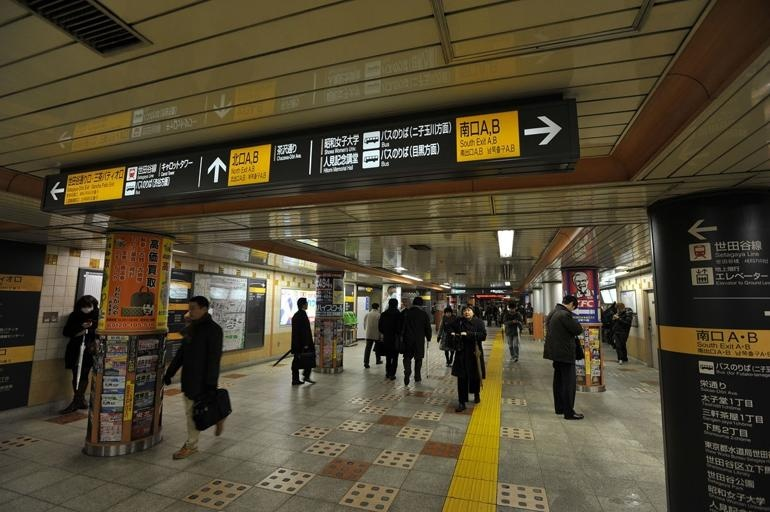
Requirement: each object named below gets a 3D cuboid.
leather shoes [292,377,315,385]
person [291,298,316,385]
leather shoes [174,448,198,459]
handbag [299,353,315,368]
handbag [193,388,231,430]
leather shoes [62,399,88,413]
[{"bbox_3d":[-1.940,2.946,10.478,0.582,0.211,0.181,-1,-13,-6],"label":"leather shoes"},{"bbox_3d":[-1.887,2.099,10.231,0.500,1.817,0.620,0,-2,-13],"label":"person"},{"bbox_3d":[-2.823,2.810,6.312,0.114,0.116,0.297,-4,-17,23],"label":"leather shoes"},{"bbox_3d":[-1.764,2.343,9.966,0.390,0.329,0.169,1,-4,-26],"label":"handbag"},{"bbox_3d":[-2.417,2.144,6.234,0.276,0.534,0.476,-2,-3,44],"label":"handbag"},{"bbox_3d":[-5.799,2.814,8.366,0.196,0.222,0.515,0,-2,9],"label":"leather shoes"}]
